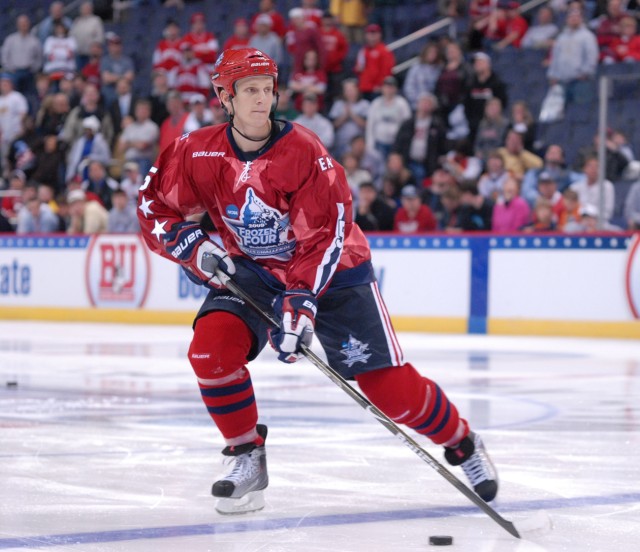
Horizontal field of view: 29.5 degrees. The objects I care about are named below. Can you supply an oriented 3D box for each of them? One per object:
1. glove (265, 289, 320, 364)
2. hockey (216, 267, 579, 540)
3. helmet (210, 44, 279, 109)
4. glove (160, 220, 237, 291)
[{"bbox_3d":[-0.111,0.179,4.696,0.230,0.255,0.123,-2,-1,13],"label":"glove"},{"bbox_3d":[0.360,0.595,5.473,1.551,0.043,0.160,38,7,2],"label":"hockey"},{"bbox_3d":[-0.284,-0.799,4.826,0.209,0.212,0.253,0,-6,-40],"label":"helmet"},{"bbox_3d":[-0.490,-0.086,4.851,0.351,0.128,0.194,38,8,18],"label":"glove"}]
